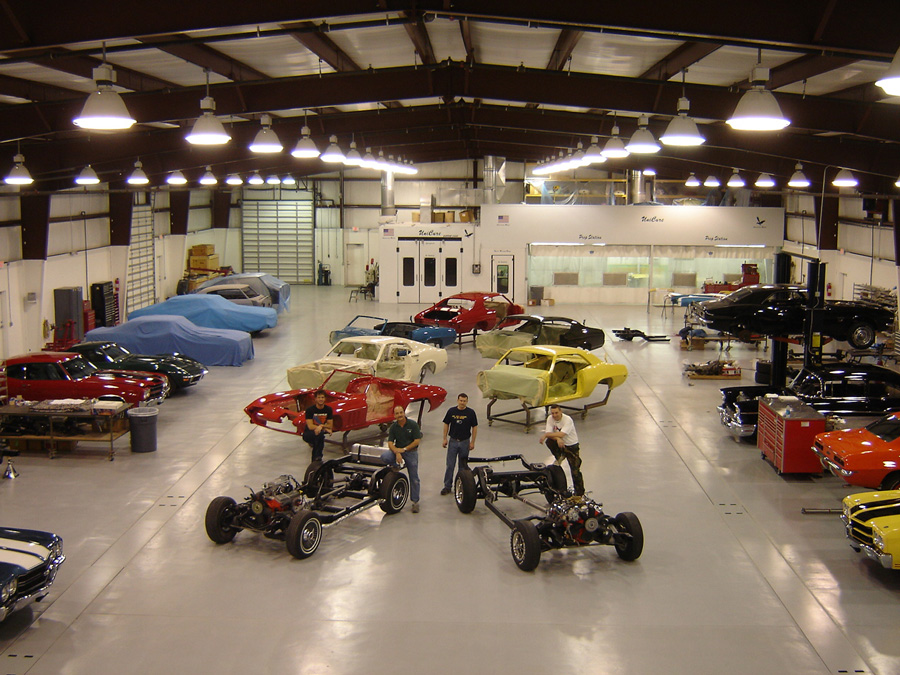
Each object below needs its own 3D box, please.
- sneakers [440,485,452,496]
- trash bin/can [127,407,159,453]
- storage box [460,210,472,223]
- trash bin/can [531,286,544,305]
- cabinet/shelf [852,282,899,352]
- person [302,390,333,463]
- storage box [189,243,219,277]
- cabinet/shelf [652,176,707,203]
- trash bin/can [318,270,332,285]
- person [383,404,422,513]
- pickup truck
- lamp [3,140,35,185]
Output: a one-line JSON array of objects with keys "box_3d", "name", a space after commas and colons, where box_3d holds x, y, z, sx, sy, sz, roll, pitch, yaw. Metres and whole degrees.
[{"box_3d": [-0.070, 2.524, 11.310, 0.099, 0.075, 0.209, 1, -1, 20], "name": "sneakers"}, {"box_3d": [-5.834, 1.799, 13.326, 0.515, 0.825, 0.427, -9, 17, -29], "name": "trash bin/can"}, {"box_3d": [0.764, -5.500, 31.896, 0.840, 0.639, 0.545, 3, 13, 12], "name": "storage box"}, {"box_3d": [3.932, -1.864, 31.502, 0.647, 0.737, 0.670, 1, 14, 4], "name": "trash bin/can"}, {"box_3d": [12.108, -0.506, 19.801, 0.937, 2.084, 2.566, -2, 1, 4], "name": "cabinet/shelf"}, {"box_3d": [-2.343, 1.625, 12.425, 0.556, 1.474, 0.887, -3, 15, -11], "name": "person"}, {"box_3d": [-11.930, -3.761, 33.736, 1.486, 1.321, 1.559, -5, 14, -18], "name": "storage box"}, {"box_3d": [11.289, -7.310, 34.573, 2.393, 1.793, 1.192, 1, 9, 0], "name": "cabinet/shelf"}, {"box_3d": [-6.872, -3.241, 38.116, 0.715, 0.572, 0.839, 4, -36, -4], "name": "trash bin/can"}, {"box_3d": [-0.708, 1.842, 10.802, 0.506, 1.640, 0.784, -1, 15, -4], "name": "person"}, {"box_3d": [8.945, -0.490, 18.039, 4.218, 1.744, 2.200, -3, 13, -14], "name": "pickup truck"}, {"box_3d": [-10.130, -4.076, 16.276, 0.524, 0.930, 2.201, -9, 15, -31], "name": "lamp"}]
